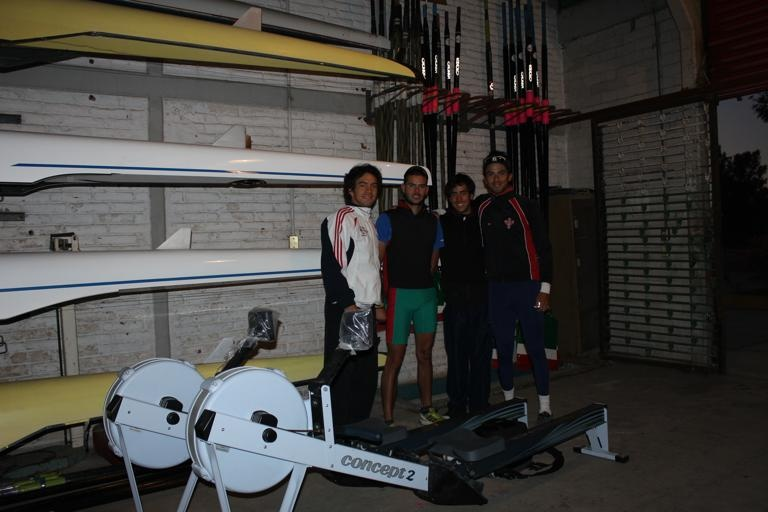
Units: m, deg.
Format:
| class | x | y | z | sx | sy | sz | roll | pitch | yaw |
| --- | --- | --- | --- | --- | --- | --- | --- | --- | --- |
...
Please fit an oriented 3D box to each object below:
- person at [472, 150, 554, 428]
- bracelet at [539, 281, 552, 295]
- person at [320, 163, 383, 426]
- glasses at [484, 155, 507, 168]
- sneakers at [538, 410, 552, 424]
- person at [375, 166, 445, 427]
| class | x | y | z | sx | sy | sz | roll | pitch | yaw |
| --- | --- | --- | --- | --- | --- | --- | --- | --- | --- |
| person | 1.141 | 0.239 | 4.638 | 0.640 | 2.326 | 0.330 | -1 | 5 | 13 |
| bracelet | 1.399 | 0.286 | 4.575 | 0.119 | 0.106 | 0.110 | 0 | 1 | 12 |
| person | -0.240 | 0.294 | 4.072 | 0.496 | 2.007 | 0.517 | -2 | 4 | -1 |
| glasses | 0.980 | -0.834 | 4.624 | 0.122 | 0.110 | 0.041 | -4 | 15 | 8 |
| sneakers | 1.380 | 1.403 | 4.546 | 0.115 | 0.101 | 0.284 | -1 | 4 | 16 |
| person | 0.220 | 0.370 | 4.575 | 0.730 | 2.283 | 0.333 | -5 | 5 | -31 |
